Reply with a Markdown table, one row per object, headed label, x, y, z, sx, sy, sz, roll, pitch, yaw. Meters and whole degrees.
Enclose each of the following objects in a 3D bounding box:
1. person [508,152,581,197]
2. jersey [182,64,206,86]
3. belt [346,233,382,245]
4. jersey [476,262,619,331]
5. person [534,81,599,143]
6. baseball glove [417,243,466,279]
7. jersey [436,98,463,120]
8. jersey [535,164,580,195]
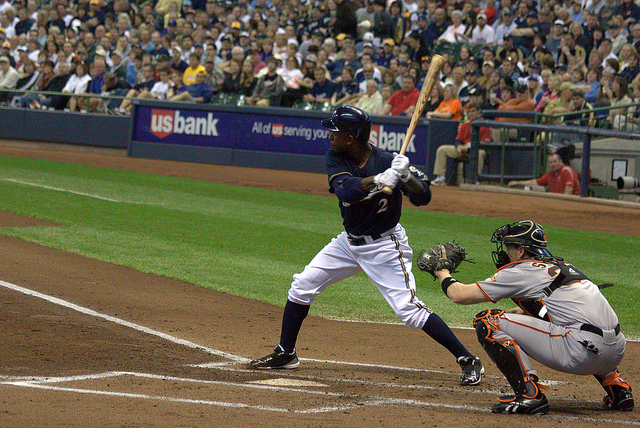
| label | x | y | z | sx | sy | sz | roll | pitch | yaw |
| --- | --- | --- | --- | --- | --- | --- | --- | --- | --- |
| person | 5.103 | -0.893 | 23.258 | 1.140 | 0.929 | 1.567 | 2 | 3 | -11 |
| jersey | -3.281 | -3.594 | 27.514 | 0.662 | 0.537 | 0.344 | 15 | 4 | 21 |
| belt | 0.570 | 0.346 | 14.331 | 0.251 | 0.071 | 0.213 | -15 | 23 | -20 |
| jersey | 3.054 | 1.055 | 13.889 | 1.782 | 0.840 | 0.170 | 3 | 3 | 7 |
| person | 5.533 | -2.203 | 23.440 | 1.541 | 1.472 | 0.970 | 4 | -5 | -7 |
| baseball glove | 1.683 | 0.588 | 14.604 | 0.583 | 0.357 | 0.716 | 21 | 22 | 17 |
| jersey | 3.057 | -2.487 | 24.688 | 0.528 | 0.453 | 0.714 | 1 | 15 | -17 |
| jersey | 5.164 | -0.732 | 23.065 | 0.752 | 0.705 | 1.165 | -17 | 19 | -39 |
